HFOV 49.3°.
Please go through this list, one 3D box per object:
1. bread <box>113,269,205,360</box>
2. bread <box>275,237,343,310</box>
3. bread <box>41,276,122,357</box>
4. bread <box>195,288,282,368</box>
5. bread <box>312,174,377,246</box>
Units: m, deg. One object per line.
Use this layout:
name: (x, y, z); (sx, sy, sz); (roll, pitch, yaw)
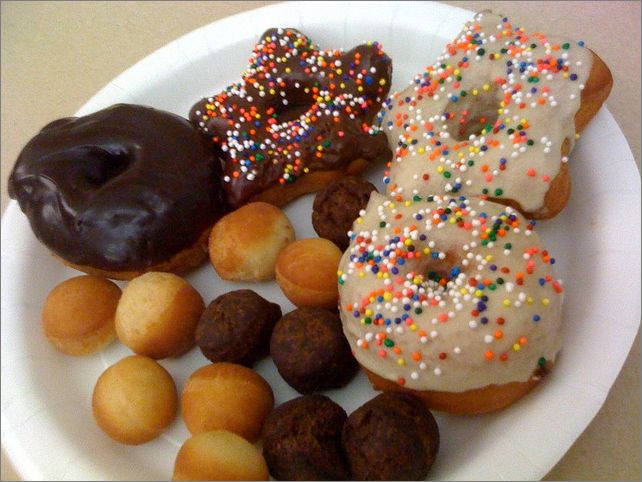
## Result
bread: (-0.553, 0.255, 2.393); (0.292, 0.289, 0.302); (-3, 88, -17)
bread: (-0.042, 0.105, 2.359); (0.201, 0.174, 0.234); (4, 74, -5)
bread: (-0.837, 0.252, 2.414); (0.252, 0.211, 0.271); (-3, 40, -16)
bread: (-0.273, 0.334, 2.414); (0.257, 0.147, 0.240); (-20, 53, -14)
bread: (0.068, -0.105, 2.476); (0.227, 0.084, 0.231); (-16, 60, 32)
